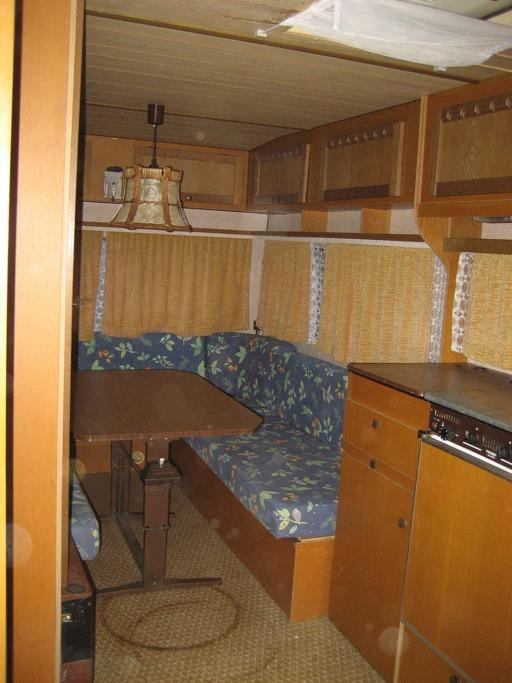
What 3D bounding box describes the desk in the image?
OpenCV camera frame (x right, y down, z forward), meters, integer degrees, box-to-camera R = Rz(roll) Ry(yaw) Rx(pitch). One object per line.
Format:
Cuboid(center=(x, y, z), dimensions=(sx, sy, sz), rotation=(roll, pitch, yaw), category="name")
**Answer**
Cuboid(center=(-0.608, 0.703, 2.890), dimensions=(0.817, 0.712, 1.472), rotation=(1, -1, -21), category="desk")
